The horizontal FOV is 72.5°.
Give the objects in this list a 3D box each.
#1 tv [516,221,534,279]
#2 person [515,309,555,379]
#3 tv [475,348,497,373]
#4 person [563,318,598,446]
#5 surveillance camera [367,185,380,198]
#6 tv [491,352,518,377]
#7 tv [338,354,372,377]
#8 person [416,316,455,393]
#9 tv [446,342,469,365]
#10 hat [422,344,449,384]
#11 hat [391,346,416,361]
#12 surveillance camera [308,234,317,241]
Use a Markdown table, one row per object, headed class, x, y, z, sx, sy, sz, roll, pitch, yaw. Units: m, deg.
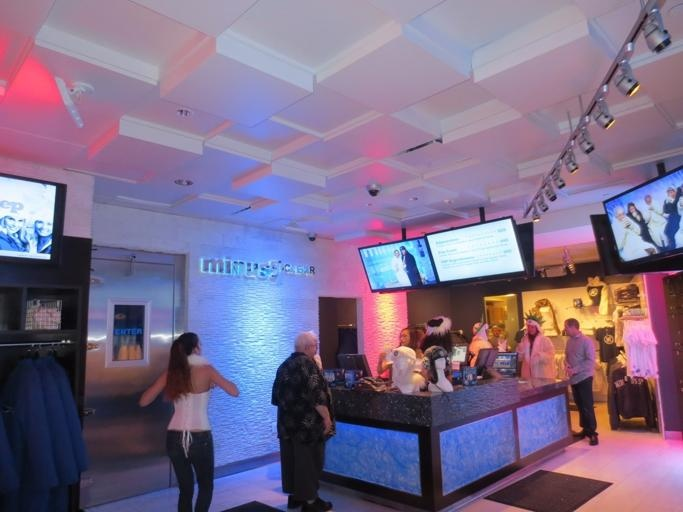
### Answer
| class | x | y | z | sx | sy | sz | roll | pitch | yaw |
| --- | --- | --- | --- | --- | --- | --- | --- | --- | --- |
| tv | 2.574 | -0.090 | 6.418 | 0.176 | 0.739 | 0.611 | -8 | -9 | 37 |
| person | 3.410 | 1.567 | 8.187 | 0.605 | 1.451 | 0.657 | 21 | -25 | -21 |
| tv | 1.859 | 1.362 | 6.003 | 0.324 | 0.333 | 0.106 | 10 | 14 | -43 |
| person | 3.524 | 1.841 | 6.837 | 0.381 | 1.795 | 0.328 | -6 | -8 | 28 |
| surveillance camera | 0.400 | -0.798 | 5.741 | 0.126 | 0.094 | 0.128 | -5 | 4 | -14 |
| tv | 2.234 | 1.474 | 6.501 | 0.423 | 0.339 | 0.397 | 0 | -3 | 27 |
| tv | 0.162 | 1.390 | 6.052 | 0.377 | 0.370 | 0.314 | -11 | 2 | 43 |
| person | 1.209 | 1.272 | 6.024 | 0.389 | 0.957 | 0.486 | -11 | -16 | 42 |
| tv | 1.524 | 1.275 | 6.078 | 0.273 | 0.274 | 0.067 | -3 | -35 | 36 |
| hat | 0.991 | 1.153 | 4.928 | 0.309 | 0.370 | 0.288 | 3 | -14 | -24 |
| hat | 0.661 | 1.046 | 5.033 | 0.199 | 0.122 | 0.139 | 4 | -7 | 18 |
| surveillance camera | -0.497 | -0.308 | 7.859 | 0.106 | 0.081 | 0.106 | 5 | -12 | -41 |
